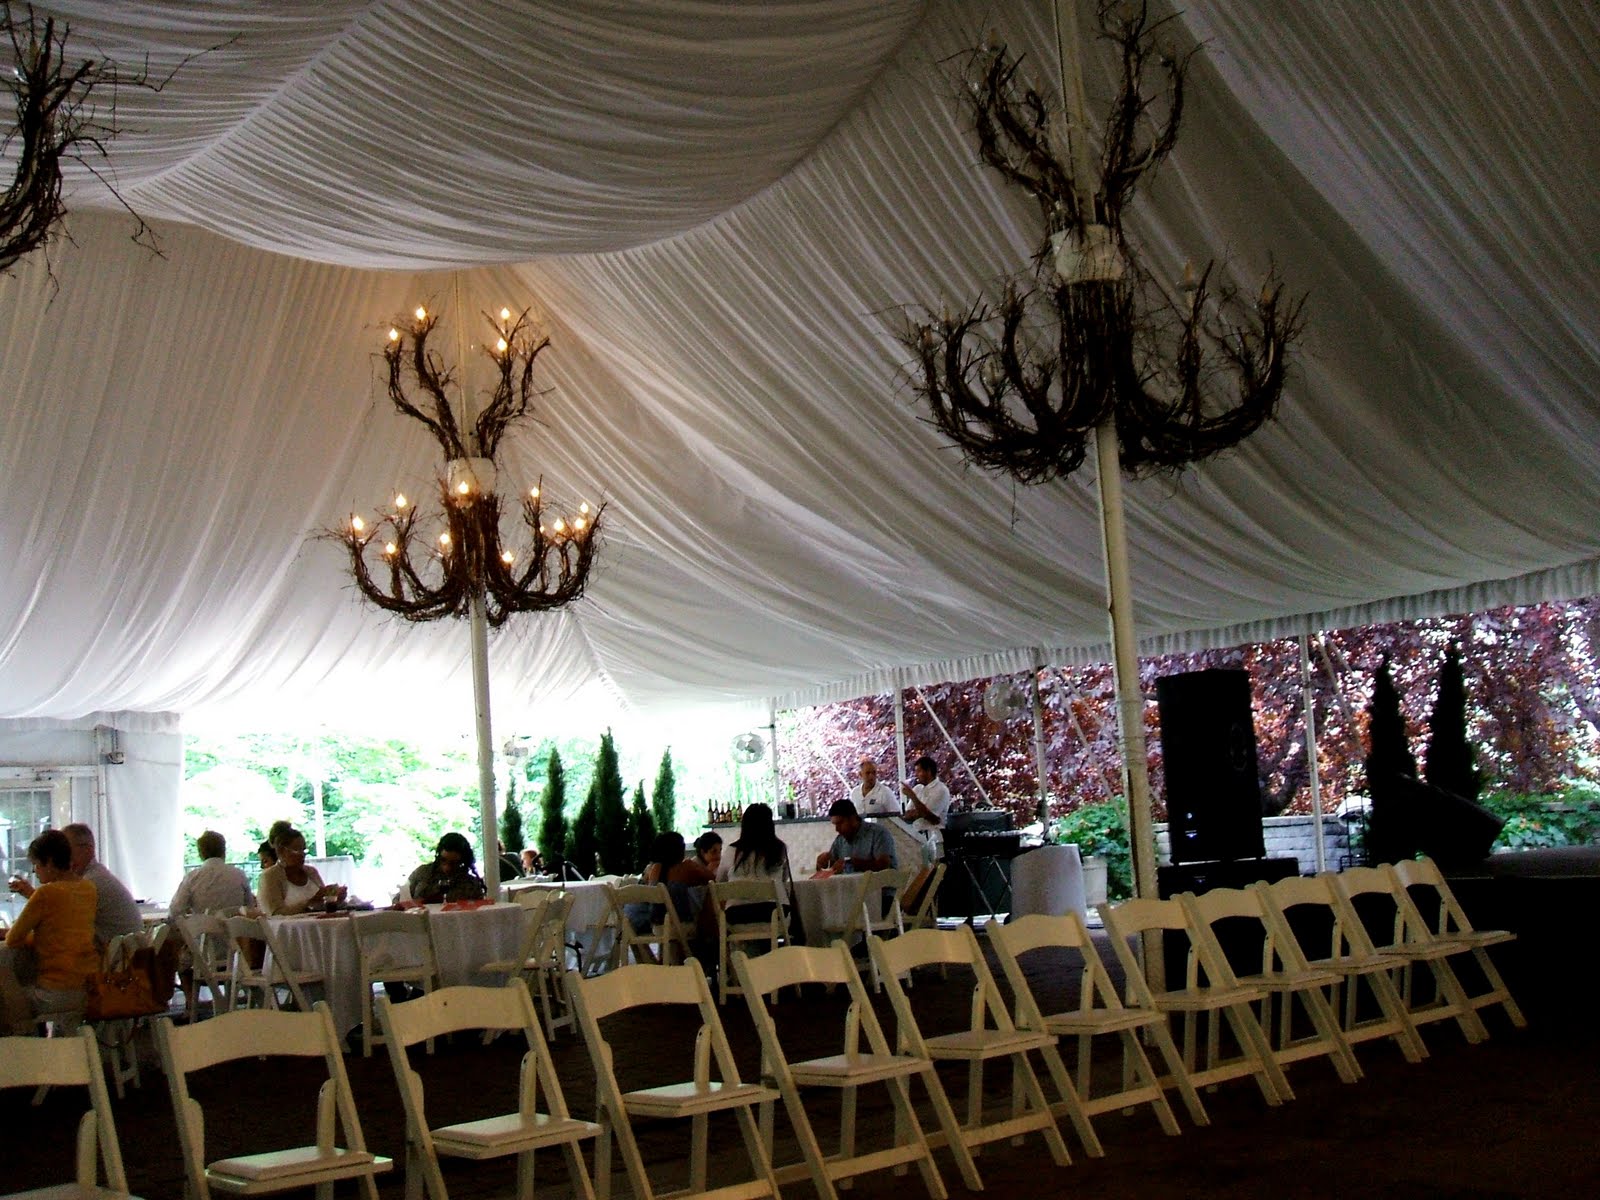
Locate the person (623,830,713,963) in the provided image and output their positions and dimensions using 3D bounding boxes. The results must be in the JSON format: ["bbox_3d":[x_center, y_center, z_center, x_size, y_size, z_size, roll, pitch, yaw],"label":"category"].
[{"bbox_3d":[-0.954,2.189,9.315,0.794,1.182,0.632,2,-11,-10],"label":"person"}]

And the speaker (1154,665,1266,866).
[{"bbox_3d":[2.487,1.011,7.606,0.761,1.169,0.243,-2,-9,-16],"label":"speaker"}]
